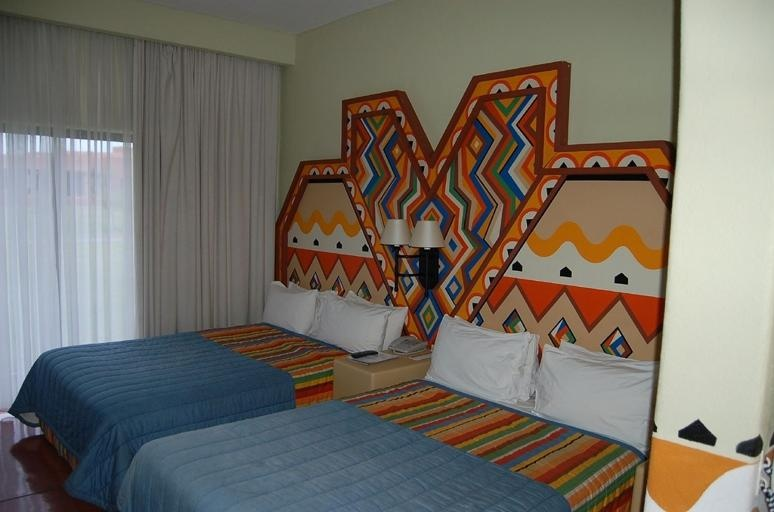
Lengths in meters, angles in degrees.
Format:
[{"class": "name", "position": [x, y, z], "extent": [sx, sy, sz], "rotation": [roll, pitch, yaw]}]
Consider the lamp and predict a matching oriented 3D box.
[{"class": "lamp", "position": [0.206, 0.002, 4.501], "extent": [0.383, 0.561, 0.588], "rotation": [3, -3, -31]}]
